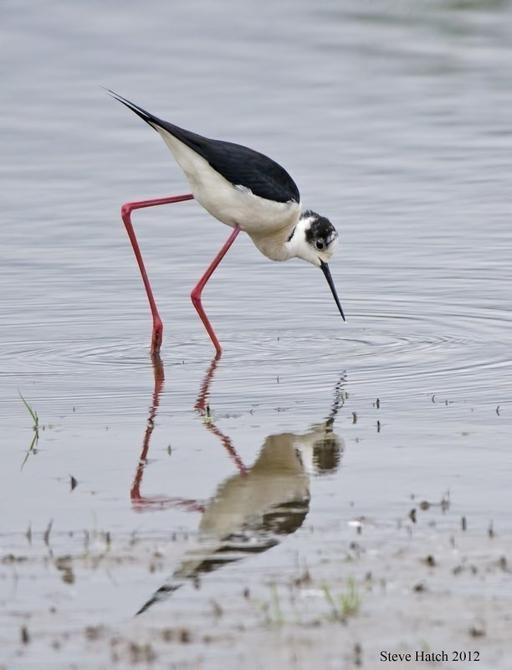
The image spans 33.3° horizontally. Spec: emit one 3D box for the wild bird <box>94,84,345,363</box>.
[{"bbox_3d":[-0.021,-0.986,7.411,0.754,2.230,1.636,34,51,31],"label":"wild bird"}]
